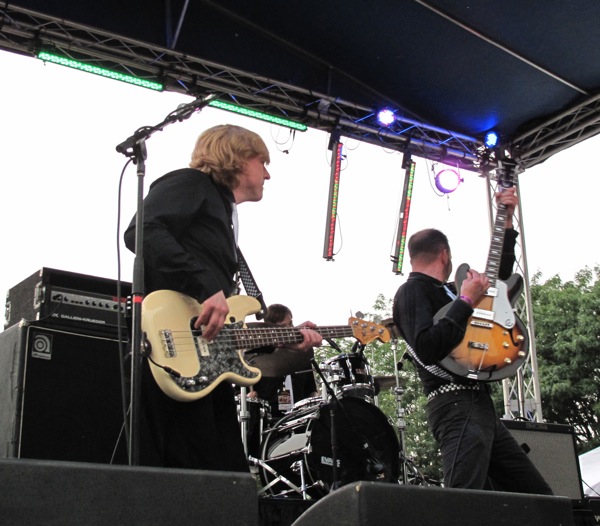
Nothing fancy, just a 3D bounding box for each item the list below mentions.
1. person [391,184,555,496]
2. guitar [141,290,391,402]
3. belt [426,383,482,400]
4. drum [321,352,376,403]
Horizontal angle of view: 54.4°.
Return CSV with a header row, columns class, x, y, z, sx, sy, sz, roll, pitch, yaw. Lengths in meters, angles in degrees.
class,x,y,z,sx,sy,sz,roll,pitch,yaw
person,0.920,0.491,3.130,0.855,1.500,0.650,8,-14,-39
guitar,-0.328,0.342,2.442,0.214,0.444,0.736,-11,-15,43
belt,0.787,0.653,2.975,0.277,0.084,0.098,-4,-11,13
drum,0.359,0.839,4.602,0.391,0.283,0.392,-11,-33,-7
